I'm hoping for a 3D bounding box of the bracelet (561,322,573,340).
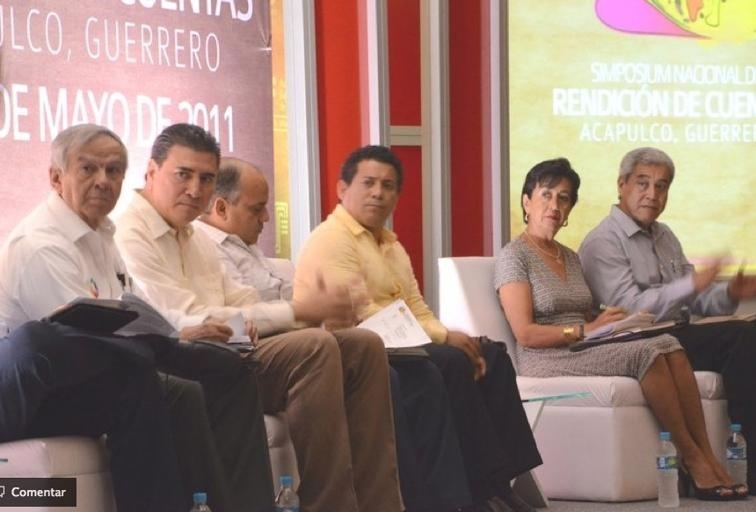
[{"bbox_3d":[0.925,0.379,4.155,0.049,0.059,0.052,0,1,11],"label":"bracelet"}]

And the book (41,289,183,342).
[{"bbox_3d":[-0.919,0.221,2.995,0.242,0.091,0.176,17,-4,-36],"label":"book"}]

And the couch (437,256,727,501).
[{"bbox_3d":[1.086,0.558,4.489,1.074,1.327,1.120,-4,-4,42],"label":"couch"}]

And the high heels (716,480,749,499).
[{"bbox_3d":[1.643,1.096,3.942,0.058,0.055,0.169,1,-14,-20],"label":"high heels"}]

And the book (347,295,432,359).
[{"bbox_3d":[0.096,0.310,3.599,0.241,0.258,0.077,-30,-20,-3],"label":"book"}]

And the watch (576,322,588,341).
[{"bbox_3d":[0.993,0.374,4.150,0.013,0.064,0.060,8,-25,-5],"label":"watch"}]

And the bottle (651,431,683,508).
[{"bbox_3d":[1.349,0.985,3.974,0.103,0.308,0.243,-2,1,19],"label":"bottle"}]
